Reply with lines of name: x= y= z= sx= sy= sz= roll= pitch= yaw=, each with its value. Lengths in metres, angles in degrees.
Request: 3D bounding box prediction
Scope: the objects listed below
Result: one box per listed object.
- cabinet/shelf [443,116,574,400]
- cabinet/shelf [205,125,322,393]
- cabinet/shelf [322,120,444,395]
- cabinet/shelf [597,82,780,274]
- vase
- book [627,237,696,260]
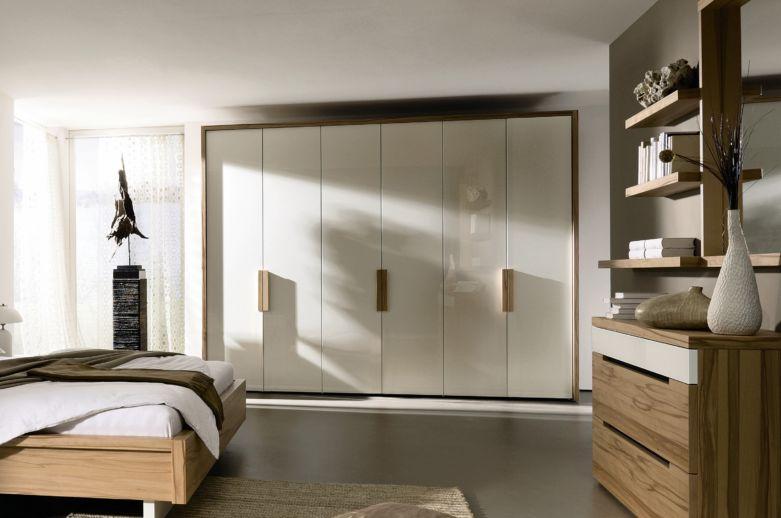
cabinet/shelf: x=1.258 y=-0.004 z=6.368 sx=1.366 sy=2.907 sz=0.519 roll=0 pitch=10 yaw=4
cabinet/shelf: x=-1.418 y=0.008 z=6.636 sx=1.293 sy=2.837 sz=0.597 roll=0 pitch=10 yaw=0
cabinet/shelf: x=-0.080 y=0.007 z=6.470 sx=1.281 sy=2.876 sz=0.542 roll=0 pitch=10 yaw=2
cabinet/shelf: x=2.258 y=-0.597 z=4.469 sx=0.514 sy=1.421 sz=1.607 roll=1 pitch=-2 yaw=-10
vase: x=2.294 y=0.099 z=3.960 sx=0.309 sy=0.818 sz=0.195 roll=6 pitch=12 yaw=33
book: x=2.055 y=-0.066 z=4.568 sx=0.501 sy=0.198 sz=0.176 roll=8 pitch=13 yaw=38
